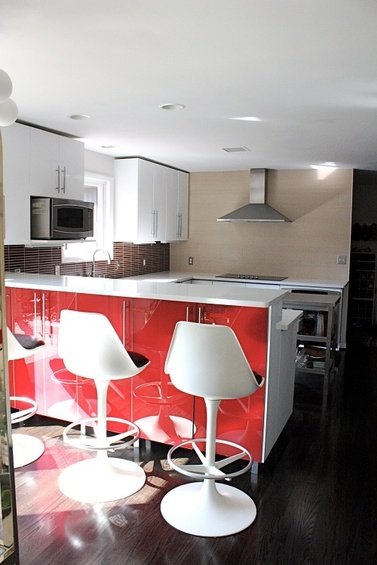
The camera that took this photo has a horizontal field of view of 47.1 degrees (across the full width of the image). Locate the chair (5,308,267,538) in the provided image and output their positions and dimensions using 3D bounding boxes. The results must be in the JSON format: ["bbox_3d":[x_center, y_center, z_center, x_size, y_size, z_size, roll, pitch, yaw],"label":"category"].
[{"bbox_3d":[-0.214,0.742,2.242,0.938,0.867,0.418,3,11,16],"label":"chair"}]

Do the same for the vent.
[{"bbox_3d":[0.933,-1.163,5.803,0.955,0.726,0.539,5,4,30],"label":"vent"}]

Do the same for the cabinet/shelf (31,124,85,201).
[{"bbox_3d":[-1.136,-1.040,3.686,0.237,0.515,0.584,8,12,27],"label":"cabinet/shelf"}]

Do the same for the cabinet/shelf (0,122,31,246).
[{"bbox_3d":[-1.326,-0.757,3.308,0.078,0.914,0.313,2,5,12],"label":"cabinet/shelf"}]

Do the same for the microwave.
[{"bbox_3d":[-1.092,-0.551,3.797,0.193,0.363,0.668,3,5,23],"label":"microwave"}]

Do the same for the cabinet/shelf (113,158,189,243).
[{"bbox_3d":[-0.485,-1.016,5.220,0.337,0.839,0.995,2,7,21],"label":"cabinet/shelf"}]
